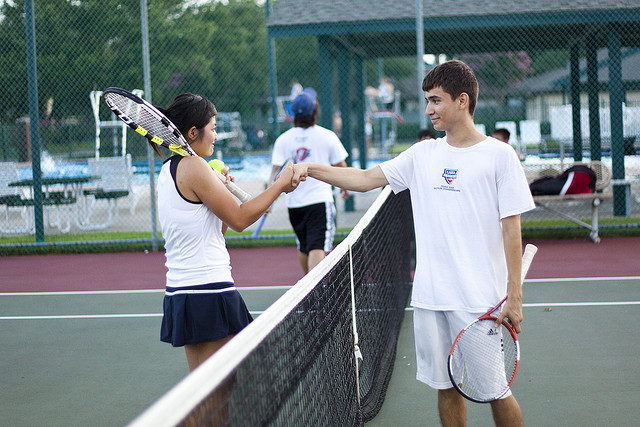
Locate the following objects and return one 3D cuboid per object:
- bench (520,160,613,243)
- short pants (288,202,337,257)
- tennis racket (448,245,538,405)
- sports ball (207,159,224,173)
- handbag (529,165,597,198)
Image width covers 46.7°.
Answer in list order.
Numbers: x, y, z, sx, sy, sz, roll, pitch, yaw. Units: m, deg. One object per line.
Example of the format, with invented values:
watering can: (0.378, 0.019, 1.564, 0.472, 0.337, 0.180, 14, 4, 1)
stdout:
bench: (3.888, -0.231, 12.854, 2.188, 1.576, 0.848, 0, -3, 17)
short pants: (-0.146, 0.139, 9.540, 0.485, 0.742, 0.417, -6, 24, -3)
tennis racket: (1.461, 0.885, 6.212, 0.604, 1.861, 0.128, 0, 33, 4)
sports ball: (-0.964, -0.434, 6.869, 0.098, 0.119, 0.145, 15, 7, 7)
handbag: (4.134, -0.507, 12.553, 0.951, 0.452, 0.666, -1, 0, 16)
